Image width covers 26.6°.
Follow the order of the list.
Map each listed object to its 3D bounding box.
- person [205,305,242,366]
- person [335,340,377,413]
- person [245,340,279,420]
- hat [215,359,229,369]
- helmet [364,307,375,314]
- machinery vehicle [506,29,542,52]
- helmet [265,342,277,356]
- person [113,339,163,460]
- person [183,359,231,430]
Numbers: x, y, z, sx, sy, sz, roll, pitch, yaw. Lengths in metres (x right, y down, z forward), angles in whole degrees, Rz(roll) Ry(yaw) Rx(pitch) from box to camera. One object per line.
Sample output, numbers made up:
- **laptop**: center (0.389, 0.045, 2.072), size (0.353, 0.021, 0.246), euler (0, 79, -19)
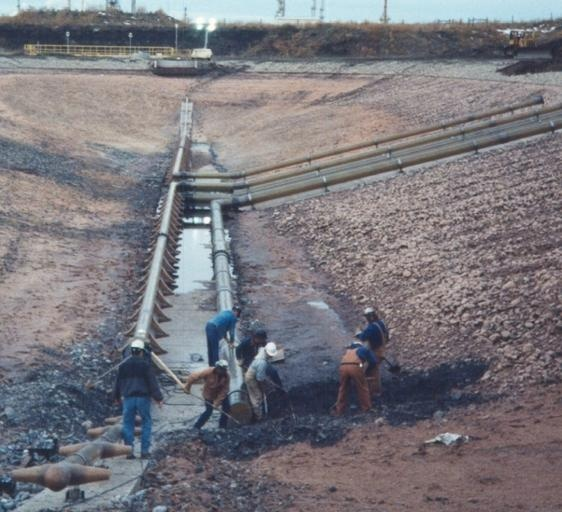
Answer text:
- **person**: center (-1.427, 1.866, 27.825), size (0.613, 1.175, 1.256), euler (8, 17, 22)
- **person**: center (1.676, 2.718, 27.098), size (0.888, 1.604, 0.782), euler (2, 17, 4)
- **person**: center (-0.402, 2.767, 27.127), size (0.601, 1.759, 0.810), euler (14, 21, 35)
- **hat**: center (-1.346, 2.381, 26.554), size (0.279, 0.233, 0.286), euler (-1, 16, -5)
- **helmet**: center (1.975, 1.256, 27.398), size (0.219, 0.096, 0.215), euler (-16, 4, -35)
- **machinery vehicle**: center (11.317, -10.203, 55.526), size (1.477, 0.906, 1.309), euler (0, 8, -2)
- **helmet**: center (-0.262, 2.085, 26.978), size (0.237, 0.358, 0.332), euler (1, 16, 0)
- **person**: center (-3.052, 2.956, 25.453), size (0.947, 2.223, 0.939), euler (-4, 18, -15)
- **person**: center (-1.623, 3.059, 26.665), size (0.963, 1.609, 0.508), euler (-3, 18, -12)
